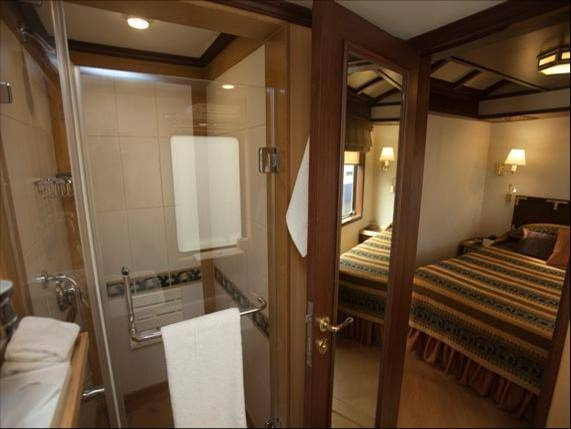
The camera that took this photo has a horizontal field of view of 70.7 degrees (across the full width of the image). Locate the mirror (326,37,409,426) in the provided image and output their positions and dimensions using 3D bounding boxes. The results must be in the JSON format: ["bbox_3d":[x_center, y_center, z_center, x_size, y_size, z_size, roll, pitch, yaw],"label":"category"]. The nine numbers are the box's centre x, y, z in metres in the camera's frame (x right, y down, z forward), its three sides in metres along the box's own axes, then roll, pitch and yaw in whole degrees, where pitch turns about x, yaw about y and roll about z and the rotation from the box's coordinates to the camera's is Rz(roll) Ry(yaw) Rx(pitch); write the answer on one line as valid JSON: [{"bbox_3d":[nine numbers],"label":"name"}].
[{"bbox_3d":[0.453,-0.043,2.129,0.424,1.498,0.451,-5,9,-6],"label":"mirror"}]

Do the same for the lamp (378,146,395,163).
[{"bbox_3d":[0.558,-0.335,2.252,0.082,0.084,0.083,-8,21,-12],"label":"lamp"}]

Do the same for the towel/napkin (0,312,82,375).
[{"bbox_3d":[-0.959,0.472,1.538,0.197,0.071,0.196,10,38,-20],"label":"towel/napkin"}]

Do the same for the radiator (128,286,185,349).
[{"bbox_3d":[-0.601,0.471,1.828,0.264,0.281,0.037,-5,6,-29],"label":"radiator"}]

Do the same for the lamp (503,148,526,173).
[{"bbox_3d":[1.541,-0.361,2.695,0.110,0.193,0.125,-11,20,-6],"label":"lamp"}]
